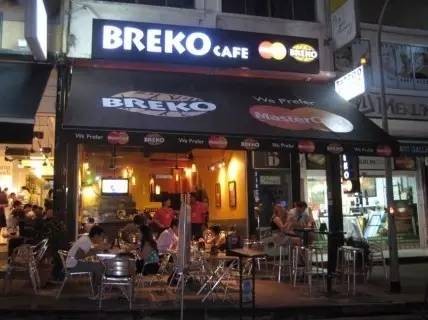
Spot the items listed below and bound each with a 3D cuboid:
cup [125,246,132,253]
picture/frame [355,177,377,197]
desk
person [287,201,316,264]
[{"bbox_3d":[-2.103,2.181,11.011,0.126,0.141,0.128,0,0,0],"label":"cup"},{"bbox_3d":[4.783,0.850,14.308,0.717,0.861,0.061,1,-3,-10],"label":"picture/frame"},{"bbox_3d":[2.736,2.417,11.409,1.307,1.825,1.531,1,1,-10],"label":"desk"},{"bbox_3d":[2.336,1.883,12.244,0.624,1.530,0.791,-2,11,-39],"label":"person"}]
